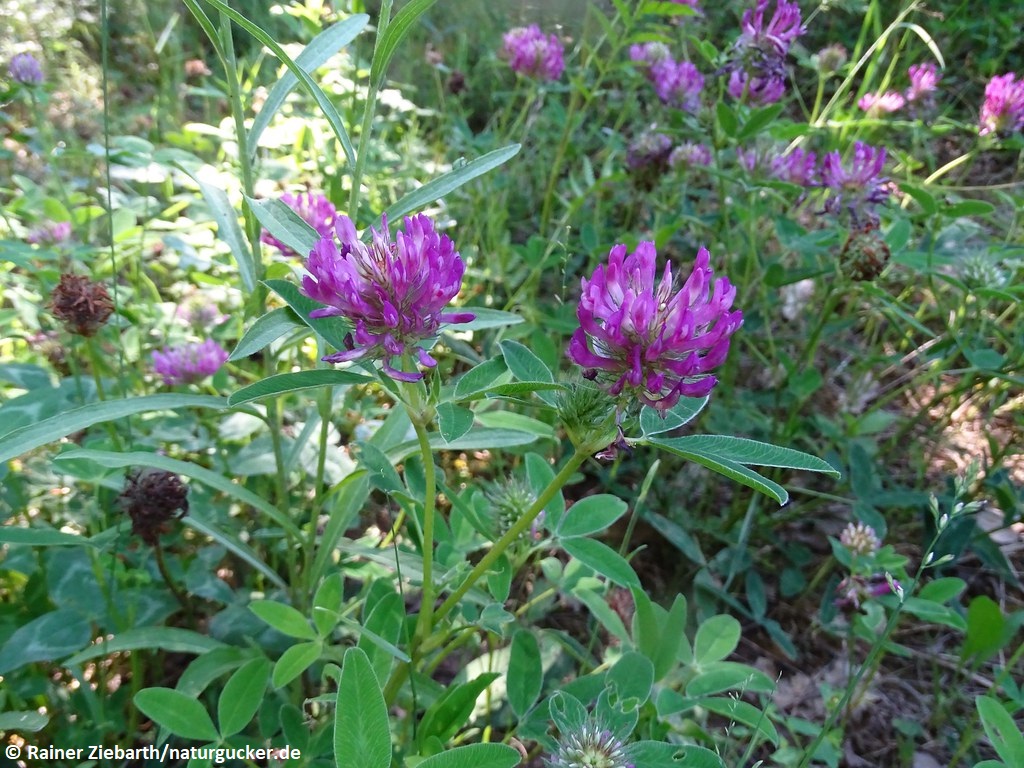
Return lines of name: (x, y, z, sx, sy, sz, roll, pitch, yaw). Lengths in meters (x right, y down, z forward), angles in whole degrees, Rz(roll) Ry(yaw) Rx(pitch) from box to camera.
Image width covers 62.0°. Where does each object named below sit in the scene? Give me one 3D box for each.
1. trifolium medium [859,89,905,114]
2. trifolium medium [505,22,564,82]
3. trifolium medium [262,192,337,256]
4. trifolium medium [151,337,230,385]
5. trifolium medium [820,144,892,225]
trifolium medium: (1.785, -1.343, 4.117, 0.177, 0.180, 0.083, -5, 92, -23)
trifolium medium: (0.096, -1.502, 3.908, 0.295, 0.148, 0.227, 4, 82, 0)
trifolium medium: (-0.749, -0.618, 3.295, 0.194, 0.212, 0.143, 16, 91, -36)
trifolium medium: (-1.226, -0.090, 3.296, 0.292, 0.297, 0.237, -8, 96, -24)
trifolium medium: (1.337, -0.758, 3.327, 0.258, 0.219, 0.318, 11, 82, 1)
